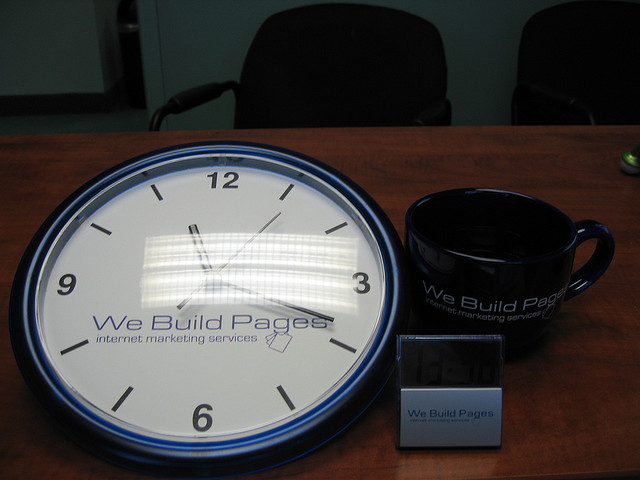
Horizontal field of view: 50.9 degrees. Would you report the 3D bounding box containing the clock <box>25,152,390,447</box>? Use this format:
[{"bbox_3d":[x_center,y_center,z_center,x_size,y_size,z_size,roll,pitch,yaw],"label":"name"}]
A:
[{"bbox_3d":[-0.111,0.057,0.722,0.411,0.075,0.421,5,49,1],"label":"clock"}]

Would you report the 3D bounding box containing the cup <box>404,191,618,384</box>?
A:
[{"bbox_3d":[0.205,0.047,0.734,0.208,0.145,0.169,4,28,11],"label":"cup"}]
